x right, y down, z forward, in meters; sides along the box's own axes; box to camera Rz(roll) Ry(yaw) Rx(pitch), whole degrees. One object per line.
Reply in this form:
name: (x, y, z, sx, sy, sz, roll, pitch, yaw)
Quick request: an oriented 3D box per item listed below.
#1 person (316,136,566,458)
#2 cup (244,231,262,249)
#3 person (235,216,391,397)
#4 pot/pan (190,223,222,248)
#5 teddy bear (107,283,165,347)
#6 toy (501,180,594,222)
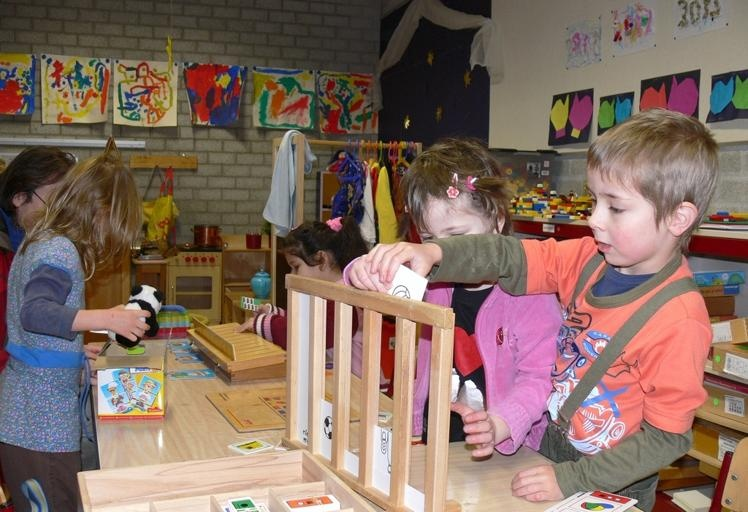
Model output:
person: (0.337, 0.075, 2.157, 0.815, 1.219, 0.938, 0, 2, -30)
cup: (-1.330, -0.168, 6.376, 0.170, 0.167, 0.170, 1, 0, 0)
person: (-0.326, 0.342, 3.256, 0.865, 1.293, 0.561, -9, 30, -6)
pot/pan: (-1.791, -0.199, 6.127, 0.286, 0.215, 0.253, 0, -1, -5)
teddy bear: (-0.881, 0.218, 2.162, 0.186, 0.131, 0.293, 13, 17, -7)
toy: (1.076, -0.305, 3.594, 0.437, 0.212, 0.633, 0, 1, -4)
